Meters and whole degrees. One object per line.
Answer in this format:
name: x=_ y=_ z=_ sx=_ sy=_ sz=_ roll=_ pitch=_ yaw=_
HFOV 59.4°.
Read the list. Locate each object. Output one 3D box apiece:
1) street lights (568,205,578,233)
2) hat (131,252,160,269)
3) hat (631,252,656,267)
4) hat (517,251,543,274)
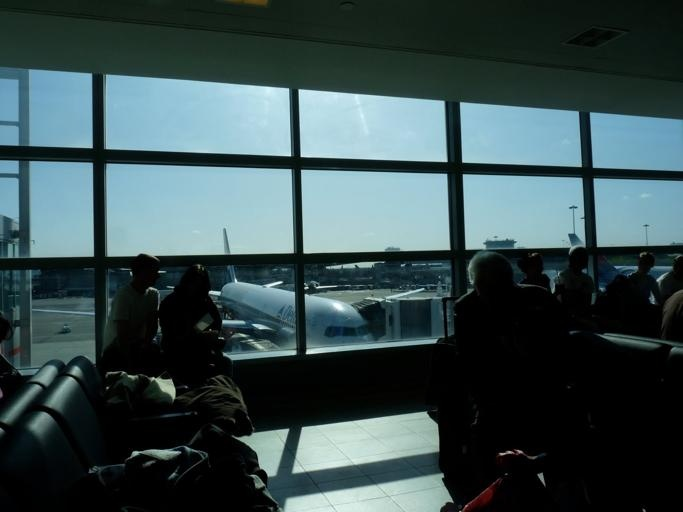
street lights: x=2.828 y=-0.462 z=7.305 sx=0.120 sy=0.324 sz=0.056 roll=-5 pitch=8 yaw=-23
hat: x=-1.615 y=0.036 z=4.955 sx=0.163 sy=0.139 sz=0.120 roll=-4 pitch=2 yaw=-21
hat: x=3.179 y=0.035 z=6.379 sx=0.199 sy=0.239 sz=0.253 roll=0 pitch=-4 yaw=14
hat: x=1.739 y=0.063 z=5.601 sx=0.212 sy=0.201 sz=0.166 roll=-12 pitch=-5 yaw=28
